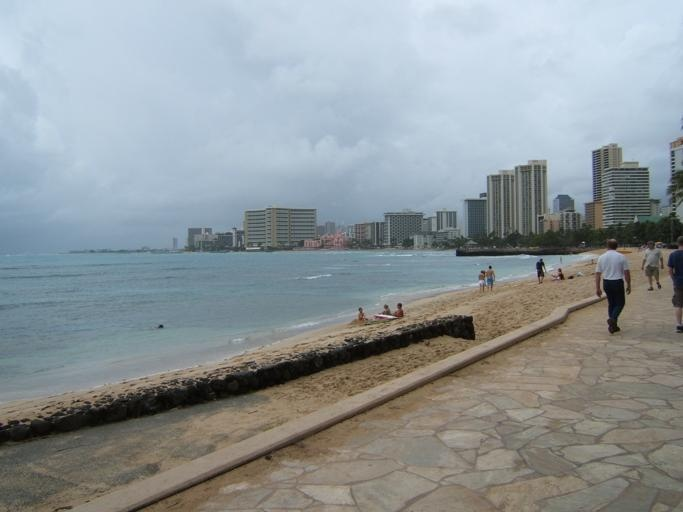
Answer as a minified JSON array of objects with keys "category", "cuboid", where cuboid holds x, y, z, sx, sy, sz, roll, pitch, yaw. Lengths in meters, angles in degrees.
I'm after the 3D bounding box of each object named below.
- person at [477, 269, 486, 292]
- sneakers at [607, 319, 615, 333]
[{"category":"person","cuboid":[9.373,1.628,31.461,0.423,1.348,2.085,-6,-2,18]},{"category":"sneakers","cuboid":[5.238,1.351,9.279,0.129,0.269,0.103,-7,-3,-28]}]
